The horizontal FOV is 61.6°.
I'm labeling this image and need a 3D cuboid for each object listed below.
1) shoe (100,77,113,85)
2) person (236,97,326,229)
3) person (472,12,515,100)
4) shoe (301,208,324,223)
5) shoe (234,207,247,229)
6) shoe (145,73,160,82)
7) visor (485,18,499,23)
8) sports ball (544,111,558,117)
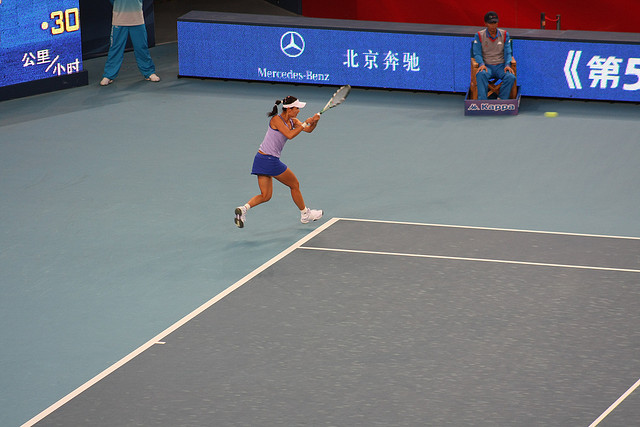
[{"bbox_3d":[-6.050,-3.744,15.285,0.183,0.190,0.377,8,16,30],"label":"shoe"},{"bbox_3d":[-0.682,-0.803,8.624,1.362,2.030,0.454,-1,16,-1],"label":"person"},{"bbox_3d":[4.222,-3.797,13.086,1.012,2.029,0.702,2,16,13],"label":"person"},{"bbox_3d":[-0.212,0.046,8.942,0.460,0.187,0.151,-13,51,-24],"label":"shoe"},{"bbox_3d":[-1.279,0.076,8.687,0.160,0.342,0.162,0,34,12],"label":"shoe"},{"bbox_3d":[-4.745,-3.882,15.483,0.454,0.232,0.142,10,51,18],"label":"shoe"},{"bbox_3d":[4.125,-4.640,12.986,0.231,0.075,0.209,0,17,8],"label":"visor"},{"bbox_3d":[5.577,-2.380,13.014,0.298,0.103,0.328,4,15,20],"label":"sports ball"}]
